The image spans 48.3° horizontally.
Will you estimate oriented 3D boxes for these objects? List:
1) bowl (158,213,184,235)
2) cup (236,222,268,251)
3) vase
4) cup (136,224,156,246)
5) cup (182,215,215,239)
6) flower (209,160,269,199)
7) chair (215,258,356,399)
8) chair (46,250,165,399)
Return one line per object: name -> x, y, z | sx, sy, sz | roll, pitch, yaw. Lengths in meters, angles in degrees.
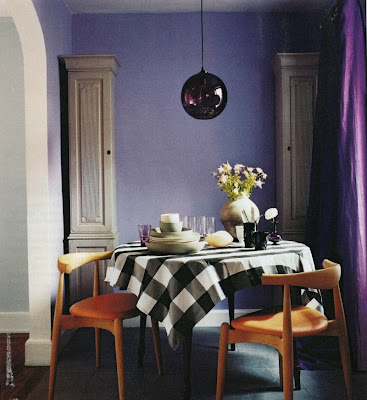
bowl -> -0.079, 0.124, 2.248 | 0.095, 0.122, 0.102 | -4, 0, 0
cup -> 0.388, 0.217, 2.332 | 0.091, 0.190, 0.160 | 1, -2, -30
vase -> 0.345, 0.112, 2.575 | 0.203, 0.326, 0.236 | 0, 0, -4
cup -> -0.231, 0.211, 2.446 | 0.098, 0.208, 0.112 | -1, -1, 9
cup -> 0.113, 0.204, 2.617 | 0.178, 0.169, 0.108 | -2, -5, 31
flower -> 0.343, -0.127, 2.815 | 0.325, 0.321, 0.355 | 4, 6, 41
chair -> 0.548, 0.562, 2.216 | 0.601, 1.058, 0.656 | -2, -4, 44
chair -> -0.476, 0.601, 2.681 | 0.603, 1.215, 0.745 | -2, -2, 16
